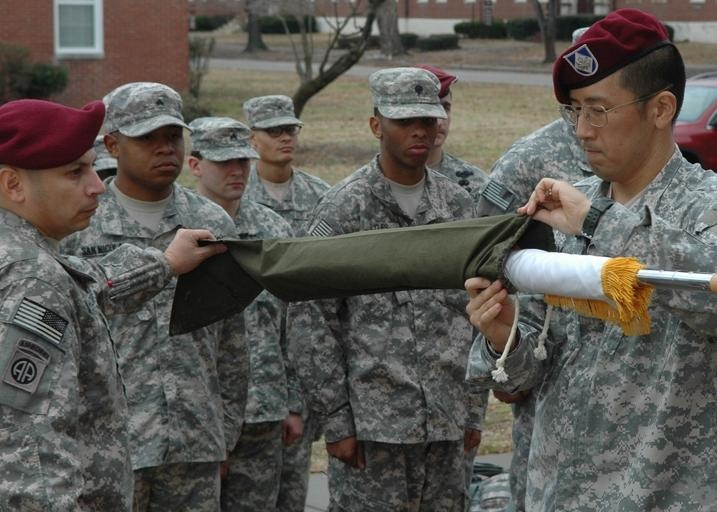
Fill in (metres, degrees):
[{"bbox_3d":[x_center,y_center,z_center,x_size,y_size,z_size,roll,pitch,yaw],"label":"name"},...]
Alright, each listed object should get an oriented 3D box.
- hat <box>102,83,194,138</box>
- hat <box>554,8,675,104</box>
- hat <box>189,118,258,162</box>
[{"bbox_3d":[-1.158,-0.810,6.089,0.443,0.271,0.577,-6,8,-30],"label":"hat"},{"bbox_3d":[1.098,-0.923,4.902,0.488,0.235,0.340,-23,22,9],"label":"hat"},{"bbox_3d":[-0.884,-0.792,7.252,0.454,0.249,0.648,-6,20,-27],"label":"hat"}]
